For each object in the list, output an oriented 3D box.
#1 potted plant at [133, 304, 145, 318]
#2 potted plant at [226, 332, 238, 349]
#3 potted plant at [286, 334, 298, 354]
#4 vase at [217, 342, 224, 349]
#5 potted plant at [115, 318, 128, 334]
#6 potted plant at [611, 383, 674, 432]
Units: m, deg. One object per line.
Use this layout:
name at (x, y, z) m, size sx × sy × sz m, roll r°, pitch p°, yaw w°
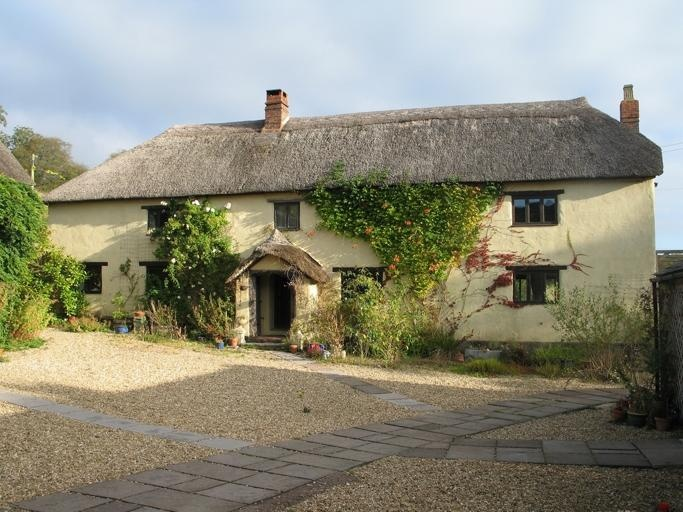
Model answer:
potted plant at (-6.062, 1.622, 22.689) m, size 0.372 × 0.294 × 0.384 m, roll 2°, pitch -5°, yaw -13°
potted plant at (-2.983, 2.272, 20.664) m, size 0.345 × 0.384 × 0.363 m, roll 1°, pitch -11°, yaw -15°
potted plant at (-1.328, 2.259, 19.932) m, size 0.351 × 0.437 × 0.267 m, roll 3°, pitch 5°, yaw 23°
vase at (-3.249, 2.370, 20.318) m, size 0.123 × 0.171 × 0.211 m, roll 2°, pitch -6°, yaw -30°
potted plant at (-6.489, 2.043, 22.374) m, size 0.363 × 0.445 × 0.441 m, roll 2°, pitch -15°, yaw -26°
potted plant at (4.964, 2.472, 12.541) m, size 1.009 × 0.571 × 0.605 m, roll 3°, pitch 5°, yaw 28°
